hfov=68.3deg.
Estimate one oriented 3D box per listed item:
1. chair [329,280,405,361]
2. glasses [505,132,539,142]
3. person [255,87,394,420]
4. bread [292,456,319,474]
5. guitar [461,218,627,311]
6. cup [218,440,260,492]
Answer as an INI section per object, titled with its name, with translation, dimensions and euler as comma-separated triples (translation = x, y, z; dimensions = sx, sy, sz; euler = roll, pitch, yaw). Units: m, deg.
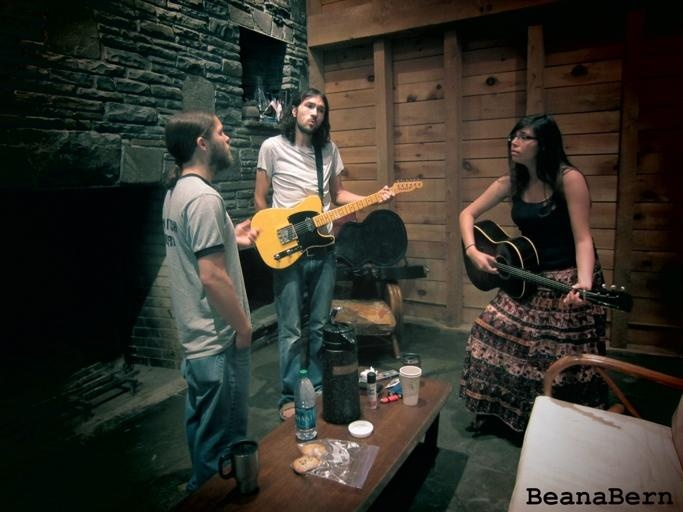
[chair]
translation = 0.269, 0.581, 4.602
dimensions = 0.561, 0.547, 0.688
euler = -1, -16, 0
[glasses]
translation = 1.170, -0.777, 3.253
dimensions = 0.196, 0.083, 0.052
euler = 10, 14, 41
[person]
translation = 0.025, -0.290, 3.434
dimensions = 0.755, 0.303, 2.167
euler = -13, -18, 5
[bread]
translation = -0.172, 1.035, 2.500
dimensions = 0.121, 0.056, 0.087
euler = -8, 14, -38
[guitar]
translation = 1.387, 0.067, 3.440
dimensions = 0.175, 0.524, 1.224
euler = -9, 23, -37
[cup]
translation = -0.472, 0.999, 2.479
dimensions = 0.242, 0.236, 0.162
euler = -7, 9, -15
